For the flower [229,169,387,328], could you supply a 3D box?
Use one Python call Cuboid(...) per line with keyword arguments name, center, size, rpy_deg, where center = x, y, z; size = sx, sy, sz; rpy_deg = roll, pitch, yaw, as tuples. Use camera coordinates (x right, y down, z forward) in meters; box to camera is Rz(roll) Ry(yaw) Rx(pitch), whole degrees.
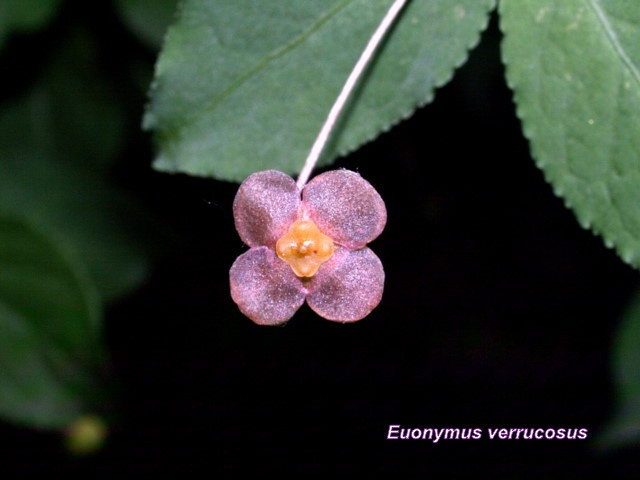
Cuboid(name="flower", center=(-0.017, 0.007, 0.969), size=(0.227, 0.105, 0.201), rpy_deg=(-5, 67, 7))
